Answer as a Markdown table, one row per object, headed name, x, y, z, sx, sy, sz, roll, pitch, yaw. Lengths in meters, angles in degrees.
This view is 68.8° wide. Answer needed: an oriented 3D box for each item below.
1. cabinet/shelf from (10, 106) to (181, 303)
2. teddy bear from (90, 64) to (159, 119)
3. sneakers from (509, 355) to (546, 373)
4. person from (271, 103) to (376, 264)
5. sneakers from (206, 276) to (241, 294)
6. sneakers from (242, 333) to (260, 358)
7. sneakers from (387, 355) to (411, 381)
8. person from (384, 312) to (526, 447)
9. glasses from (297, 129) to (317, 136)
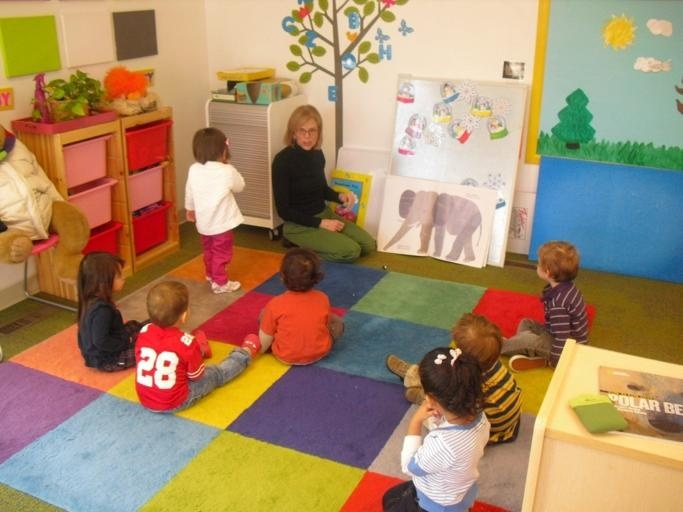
| name | x | y | z | sx | sy | sz | roll | pitch | yaw |
| --- | --- | --- | --- | --- | --- | --- | --- | --- | --- |
| cabinet/shelf | -1.772 | -0.374 | 3.502 | 0.406 | 1.127 | 1.167 | 11 | 29 | 23 |
| teddy bear | -1.641 | -1.306 | 3.891 | 0.373 | 0.250 | 0.446 | -1 | 25 | -3 |
| sneakers | 1.095 | 0.643 | 2.954 | 0.239 | 0.099 | 0.099 | 0 | 1 | -14 |
| person | -0.160 | -0.617 | 4.364 | 0.915 | 1.506 | 0.769 | 9 | 32 | 22 |
| sneakers | -0.899 | 0.243 | 3.805 | 0.243 | 0.117 | 0.095 | -10 | 27 | -17 |
| sneakers | -0.546 | 0.528 | 2.991 | 0.081 | 0.148 | 0.053 | 19 | 15 | 21 |
| sneakers | 0.326 | 0.639 | 2.860 | 0.093 | 0.040 | 0.163 | -15 | 28 | -28 |
| person | 0.526 | 0.512 | 2.512 | 0.287 | 0.711 | 0.728 | -33 | 45 | -32 |
| glasses | -0.276 | -1.030 | 4.130 | 0.158 | 0.060 | 0.048 | -4 | 22 | -14 |
